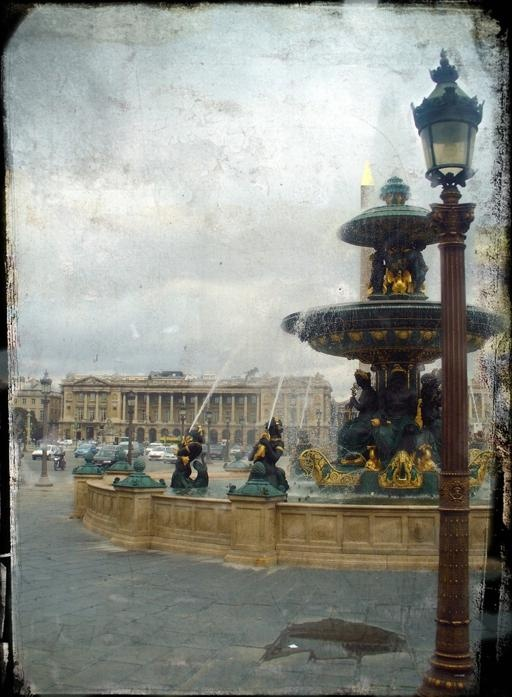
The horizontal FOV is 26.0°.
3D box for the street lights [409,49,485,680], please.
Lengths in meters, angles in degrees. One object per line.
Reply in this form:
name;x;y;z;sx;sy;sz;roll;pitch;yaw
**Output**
street lights;1.361;0.228;7.891;0.433;4.272;0.522;2;-2;-8
